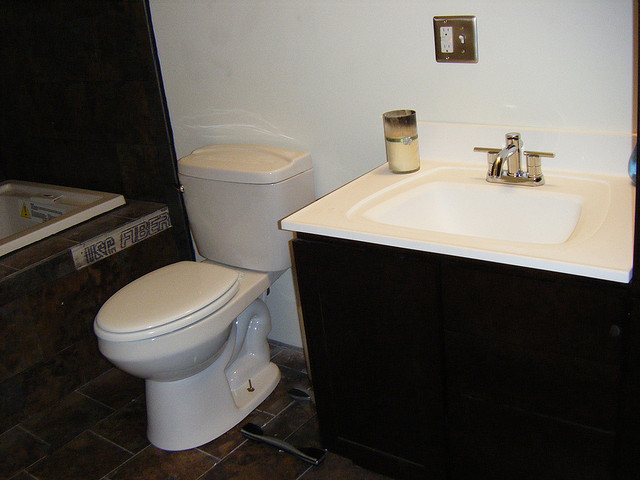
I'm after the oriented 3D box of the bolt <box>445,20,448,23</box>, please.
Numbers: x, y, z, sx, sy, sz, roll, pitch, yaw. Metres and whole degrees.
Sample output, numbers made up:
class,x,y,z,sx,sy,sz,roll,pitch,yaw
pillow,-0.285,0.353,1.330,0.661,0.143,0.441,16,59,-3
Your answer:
class,x,y,z,sx,sy,sz,roll,pitch,yaw
bolt,0.388,-0.677,1.546,0.008,0.009,0.002,1,10,25

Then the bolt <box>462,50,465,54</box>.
class,x,y,z,sx,sy,sz,roll,pitch,yaw
bolt,0.444,-0.590,1.564,0.009,0.010,0.002,8,12,25

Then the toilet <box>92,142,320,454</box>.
class,x,y,z,sx,sy,sz,roll,pitch,yaw
toilet,-0.454,0.220,1.956,0.476,1.000,0.900,9,21,26

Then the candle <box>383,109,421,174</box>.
class,x,y,z,sx,sy,sz,roll,pitch,yaw
candle,0.272,-0.317,1.643,0.130,0.193,0.092,-6,21,-5

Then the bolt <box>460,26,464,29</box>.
class,x,y,z,sx,sy,sz,roll,pitch,yaw
bolt,0.433,-0.652,1.535,0.004,0.004,0.010,-23,16,2

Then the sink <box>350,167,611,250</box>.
class,x,y,z,sx,sy,sz,roll,pitch,yaw
sink,0.450,-0.066,1.435,0.644,0.163,0.461,10,26,32

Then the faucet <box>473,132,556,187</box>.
class,x,y,z,sx,sy,sz,roll,pitch,yaw
faucet,0.574,-0.249,1.500,0.234,0.148,0.168,6,24,24
